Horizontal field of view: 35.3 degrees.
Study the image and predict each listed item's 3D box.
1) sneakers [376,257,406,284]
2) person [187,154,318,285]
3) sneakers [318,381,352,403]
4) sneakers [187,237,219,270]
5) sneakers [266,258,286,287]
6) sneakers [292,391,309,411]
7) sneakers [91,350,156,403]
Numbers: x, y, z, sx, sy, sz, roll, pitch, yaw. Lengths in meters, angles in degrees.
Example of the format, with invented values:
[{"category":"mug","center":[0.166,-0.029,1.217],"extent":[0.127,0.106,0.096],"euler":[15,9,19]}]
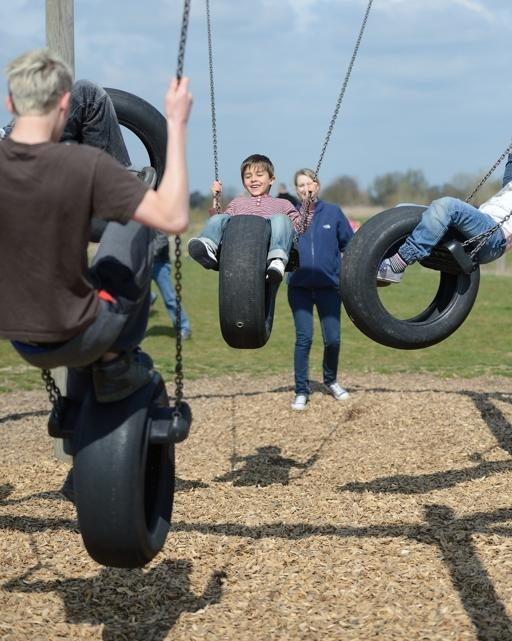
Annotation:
[{"category":"sneakers","center":[0.638,-0.235,3.788],"extent":[0.129,0.138,0.167],"euler":[1,9,8]},{"category":"person","center":[-0.015,-0.566,4.146],"extent":[0.563,0.635,0.596],"euler":[-1,-2,23]},{"category":"sneakers","center":[0.621,0.554,6.251],"extent":[0.223,0.090,0.104],"euler":[31,72,38]},{"category":"sneakers","center":[-0.260,-0.317,3.909],"extent":[0.089,0.210,0.087],"euler":[-34,25,20]},{"category":"sneakers","center":[0.093,-0.220,3.759],"extent":[0.063,0.135,0.058],"euler":[9,65,4]},{"category":"sneakers","center":[0.336,0.607,5.980],"extent":[0.131,0.121,0.315],"euler":[1,-7,6]},{"category":"sneakers","center":[-0.466,0.196,2.892],"extent":[0.166,0.128,0.210],"euler":[-14,13,16]}]
